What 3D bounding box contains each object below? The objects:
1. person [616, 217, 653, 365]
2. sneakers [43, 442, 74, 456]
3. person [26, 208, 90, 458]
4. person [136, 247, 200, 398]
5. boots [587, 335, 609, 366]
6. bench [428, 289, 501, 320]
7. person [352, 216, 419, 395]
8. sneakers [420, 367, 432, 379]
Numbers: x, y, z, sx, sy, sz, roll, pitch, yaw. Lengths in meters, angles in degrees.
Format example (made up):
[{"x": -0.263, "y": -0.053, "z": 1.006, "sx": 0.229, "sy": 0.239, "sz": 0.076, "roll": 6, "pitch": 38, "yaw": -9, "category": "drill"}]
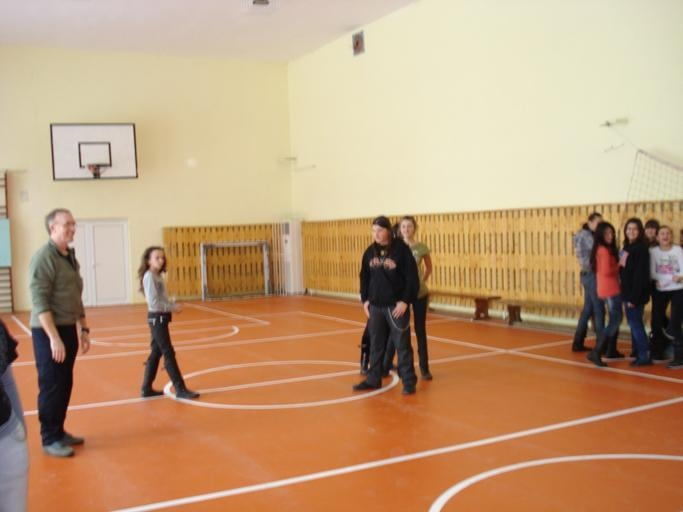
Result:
[{"x": 4.247, "y": 0.518, "z": 7.515, "sx": 0.407, "sy": 2.127, "sz": 0.649, "roll": 0, "pitch": 4, "yaw": 31, "category": "person"}, {"x": -2.723, "y": 1.845, "z": 5.023, "sx": 0.224, "sy": 0.109, "sz": 0.136, "roll": -2, "pitch": -2, "yaw": 20, "category": "sneakers"}, {"x": -2.692, "y": 0.750, "z": 4.985, "sx": 0.487, "sy": 2.389, "sz": 0.714, "roll": -3, "pitch": 4, "yaw": -30, "category": "person"}, {"x": -2.230, "y": 0.855, "z": 6.481, "sx": 0.658, "sy": 1.954, "sz": 0.481, "roll": 1, "pitch": 4, "yaw": 43, "category": "person"}, {"x": 3.708, "y": 1.372, "z": 7.545, "sx": 0.259, "sy": 0.451, "sz": 0.247, "roll": 0, "pitch": 3, "yaw": 29, "category": "boots"}, {"x": 2.932, "y": 1.143, "z": 11.942, "sx": 0.455, "sy": 0.562, "sz": 1.826, "roll": -4, "pitch": 3, "yaw": -37, "category": "bench"}, {"x": 0.583, "y": 0.626, "z": 6.490, "sx": 0.813, "sy": 2.231, "sz": 0.357, "roll": 1, "pitch": 4, "yaw": 35, "category": "person"}, {"x": 1.158, "y": 1.624, "z": 7.122, "sx": 0.144, "sy": 0.147, "sz": 0.145, "roll": -1, "pitch": 3, "yaw": 9, "category": "sneakers"}]
